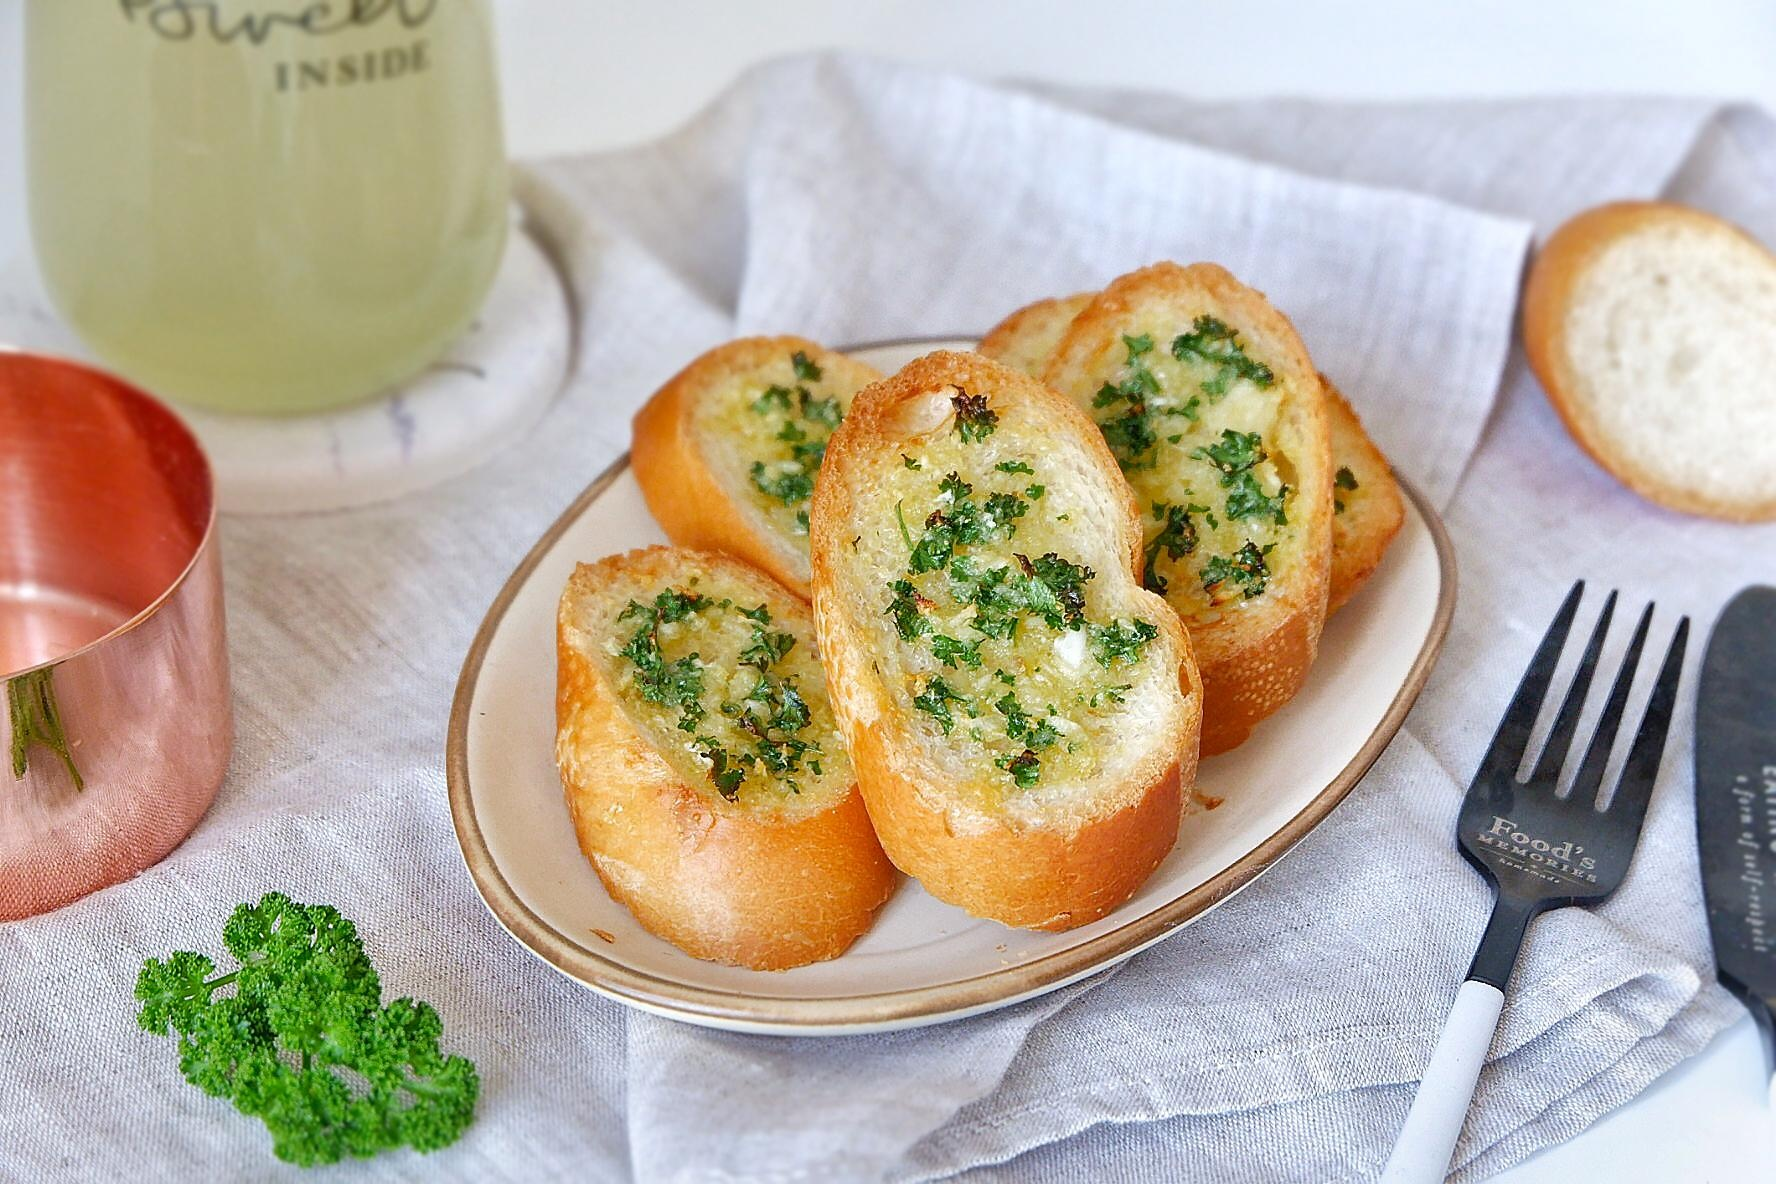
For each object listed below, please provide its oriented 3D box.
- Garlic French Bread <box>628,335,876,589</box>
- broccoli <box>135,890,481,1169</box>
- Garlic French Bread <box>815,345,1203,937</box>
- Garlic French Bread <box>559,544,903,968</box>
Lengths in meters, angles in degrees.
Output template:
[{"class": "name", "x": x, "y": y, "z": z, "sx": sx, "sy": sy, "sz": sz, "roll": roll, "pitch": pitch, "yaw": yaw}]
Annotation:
[{"class": "Garlic French Bread", "x": -0.075, "y": -0.134, "z": 1.406, "sx": 0.230, "sy": 0.211, "sz": 0.238, "roll": -16, "pitch": 28, "yaw": -28}, {"class": "broccoli", "x": -0.389, "y": 0.301, "z": 1.089, "sx": 0.232, "sy": 0.066, "sz": 0.141, "roll": 41, "pitch": 71, "yaw": 15}, {"class": "Garlic French Bread", "x": 0.088, "y": 0.025, "z": 1.159, "sx": 0.252, "sy": 0.106, "sz": 0.409, "roll": 3, "pitch": 64, "yaw": -11}, {"class": "Garlic French Bread", "x": -0.130, "y": 0.107, "z": 1.175, "sx": 0.207, "sy": 0.096, "sz": 0.297, "roll": -15, "pitch": 59, "yaw": -17}]
